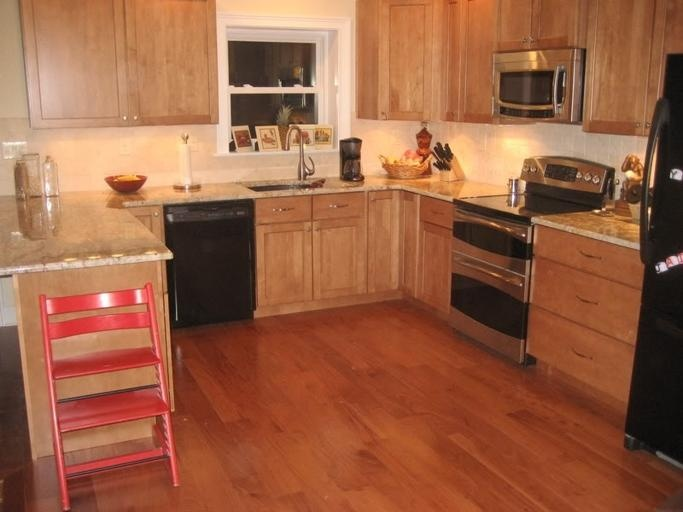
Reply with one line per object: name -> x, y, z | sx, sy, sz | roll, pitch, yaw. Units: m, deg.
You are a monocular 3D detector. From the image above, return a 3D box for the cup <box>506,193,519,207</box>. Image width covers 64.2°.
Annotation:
cup -> 1.285, -0.414, 4.084 | 0.114, 0.126, 0.116 | 1, 6, 0

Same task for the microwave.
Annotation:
microwave -> 1.497, -1.244, 3.974 | 0.458, 0.510, 0.739 | -16, 23, -28

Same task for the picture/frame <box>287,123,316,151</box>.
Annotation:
picture/frame -> -0.382, -1.101, 5.089 | 0.328, 0.297, 0.031 | 0, 2, -20

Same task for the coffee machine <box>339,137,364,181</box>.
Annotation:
coffee machine -> 0.097, -0.901, 5.082 | 0.243, 0.387, 0.245 | 11, 19, 40

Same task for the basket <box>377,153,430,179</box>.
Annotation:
basket -> 0.620, -0.868, 5.279 | 0.481, 0.223, 0.323 | 0, 18, 6

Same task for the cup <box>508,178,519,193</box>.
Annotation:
cup -> 1.348, -0.547, 4.252 | 0.074, 0.134, 0.076 | -1, 21, 0

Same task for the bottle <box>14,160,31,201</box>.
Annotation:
bottle -> -2.447, -0.579, 4.153 | 0.116, 0.283, 0.116 | -2, 18, 1

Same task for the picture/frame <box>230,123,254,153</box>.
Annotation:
picture/frame -> -0.933, -1.075, 5.016 | 0.251, 0.312, 0.022 | -12, -2, -40

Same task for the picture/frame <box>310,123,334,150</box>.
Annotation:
picture/frame -> -0.196, -1.143, 5.239 | 0.253, 0.214, 0.018 | -2, 5, -22

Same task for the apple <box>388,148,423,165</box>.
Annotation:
apple -> 0.618, -0.934, 5.235 | 0.251, 0.117, 0.227 | 1, 7, 22

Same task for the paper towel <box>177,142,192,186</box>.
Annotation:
paper towel -> -1.312, -0.755, 4.544 | 0.124, 0.352, 0.125 | 0, 6, -13

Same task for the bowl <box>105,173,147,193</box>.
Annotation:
bowl -> -1.776, -0.593, 4.473 | 0.299, 0.136, 0.363 | -10, 19, -22

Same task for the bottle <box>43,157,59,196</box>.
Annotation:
bottle -> -2.278, -0.621, 4.229 | 0.125, 0.314, 0.157 | -12, 20, -27

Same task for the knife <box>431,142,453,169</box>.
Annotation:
knife -> 0.924, -0.905, 5.061 | 0.161, 0.283, 0.068 | -10, 16, -4

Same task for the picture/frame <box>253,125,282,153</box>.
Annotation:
picture/frame -> -0.706, -1.083, 5.079 | 0.239, 0.267, 0.019 | -9, 2, -36

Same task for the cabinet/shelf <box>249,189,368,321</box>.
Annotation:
cabinet/shelf -> -0.319, -0.039, 4.658 | 0.971, 0.937, 0.490 | -5, 12, -25

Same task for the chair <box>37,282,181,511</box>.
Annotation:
chair -> -1.148, 0.611, 2.677 | 0.567, 0.992, 0.581 | -10, 19, -22
